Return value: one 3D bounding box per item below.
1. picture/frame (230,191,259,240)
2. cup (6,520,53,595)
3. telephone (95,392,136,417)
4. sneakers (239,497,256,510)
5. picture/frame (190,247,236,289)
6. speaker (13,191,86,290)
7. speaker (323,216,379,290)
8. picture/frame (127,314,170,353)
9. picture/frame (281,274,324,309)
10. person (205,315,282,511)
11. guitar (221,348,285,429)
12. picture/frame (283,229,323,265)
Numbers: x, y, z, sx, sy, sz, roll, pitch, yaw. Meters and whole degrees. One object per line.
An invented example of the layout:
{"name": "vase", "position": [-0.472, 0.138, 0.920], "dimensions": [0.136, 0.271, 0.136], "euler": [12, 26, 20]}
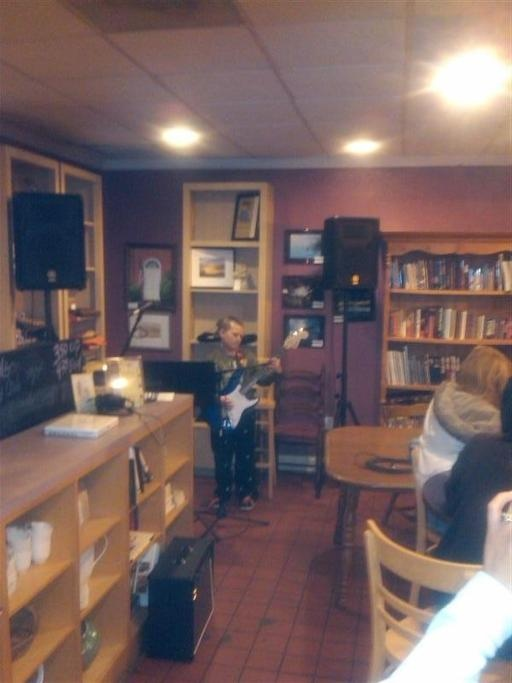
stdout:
{"name": "picture/frame", "position": [-0.075, -0.965, 4.632], "dimensions": [0.229, 0.376, 0.087], "euler": [5, 6, 38]}
{"name": "cup", "position": [-0.657, 0.600, 1.729], "dimensions": [0.075, 0.156, 0.141], "euler": [2, -4, 10]}
{"name": "telephone", "position": [-0.565, 0.256, 2.443], "dimensions": [0.144, 0.077, 0.069], "euler": [0, 2, -14]}
{"name": "sneakers", "position": [-0.050, 1.061, 3.978], "dimensions": [0.105, 0.087, 0.090], "euler": [0, 5, -15]}
{"name": "picture/frame", "position": [-0.323, -0.581, 4.652], "dimensions": [0.253, 0.300, 0.022], "euler": [0, 3, 4]}
{"name": "speaker", "position": [-1.075, -0.525, 3.129], "dimensions": [0.381, 0.629, 0.178], "euler": [-3, 7, -19]}
{"name": "speaker", "position": [0.692, -0.641, 4.441], "dimensions": [0.399, 0.518, 0.316], "euler": [2, 5, 8]}
{"name": "picture/frame", "position": [-0.834, -0.070, 4.797], "dimensions": [0.239, 0.297, 0.019], "euler": [1, 4, 5]}
{"name": "picture/frame", "position": [0.369, -0.387, 4.801], "dimensions": [0.281, 0.262, 0.074], "euler": [0, 1, 3]}
{"name": "person", "position": [-0.129, 0.437, 3.991], "dimensions": [0.474, 1.301, 0.400], "euler": [-2, -16, 3]}
{"name": "guitar", "position": [-0.049, 0.337, 4.016], "dimensions": [0.151, 0.424, 0.572], "euler": [4, 6, 34]}
{"name": "picture/frame", "position": [0.372, -0.751, 4.708], "dimensions": [0.219, 0.240, 0.026], "euler": [0, 4, 5]}
